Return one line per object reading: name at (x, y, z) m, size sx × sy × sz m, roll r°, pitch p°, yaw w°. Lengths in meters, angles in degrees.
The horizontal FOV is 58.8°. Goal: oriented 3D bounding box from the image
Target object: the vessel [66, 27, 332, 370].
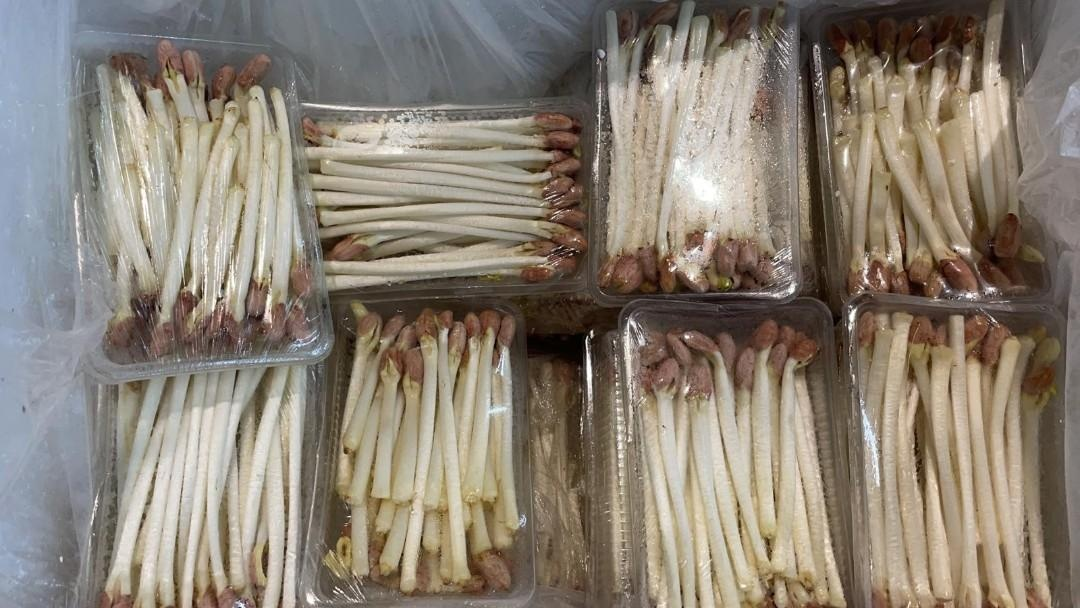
vessel at (-0.889, -0.277, 2.495) m, size 0.590 × 0.223 × 0.901 m, roll -8°, pitch 73°, yaw -2°
